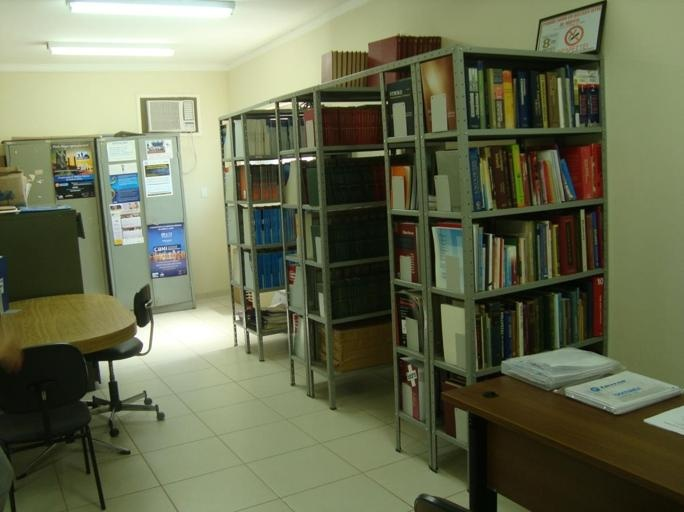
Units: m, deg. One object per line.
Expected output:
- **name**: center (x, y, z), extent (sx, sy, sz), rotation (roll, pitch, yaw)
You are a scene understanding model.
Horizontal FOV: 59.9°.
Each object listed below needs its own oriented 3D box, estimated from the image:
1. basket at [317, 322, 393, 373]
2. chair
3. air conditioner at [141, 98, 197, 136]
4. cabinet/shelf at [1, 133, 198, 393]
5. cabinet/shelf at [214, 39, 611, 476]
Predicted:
- **basket**: center (0.148, 0.728, 4.789), extent (0.515, 0.271, 0.379), rotation (-4, 11, -24)
- **chair**: center (-1.844, 1.063, 4.360), extent (1.015, 0.840, 1.565), rotation (-2, 7, -26)
- **air conditioner**: center (-2.425, -1.973, 8.352), extent (0.656, 0.473, 0.346), rotation (-12, 18, -32)
- **cabinet/shelf**: center (-2.442, -0.036, 5.915), extent (2.349, 2.703, 0.885), rotation (-7, 13, -32)
- **cabinet/shelf**: center (0.498, 0.029, 4.067), extent (1.002, 2.094, 3.131), rotation (-6, 11, -28)
